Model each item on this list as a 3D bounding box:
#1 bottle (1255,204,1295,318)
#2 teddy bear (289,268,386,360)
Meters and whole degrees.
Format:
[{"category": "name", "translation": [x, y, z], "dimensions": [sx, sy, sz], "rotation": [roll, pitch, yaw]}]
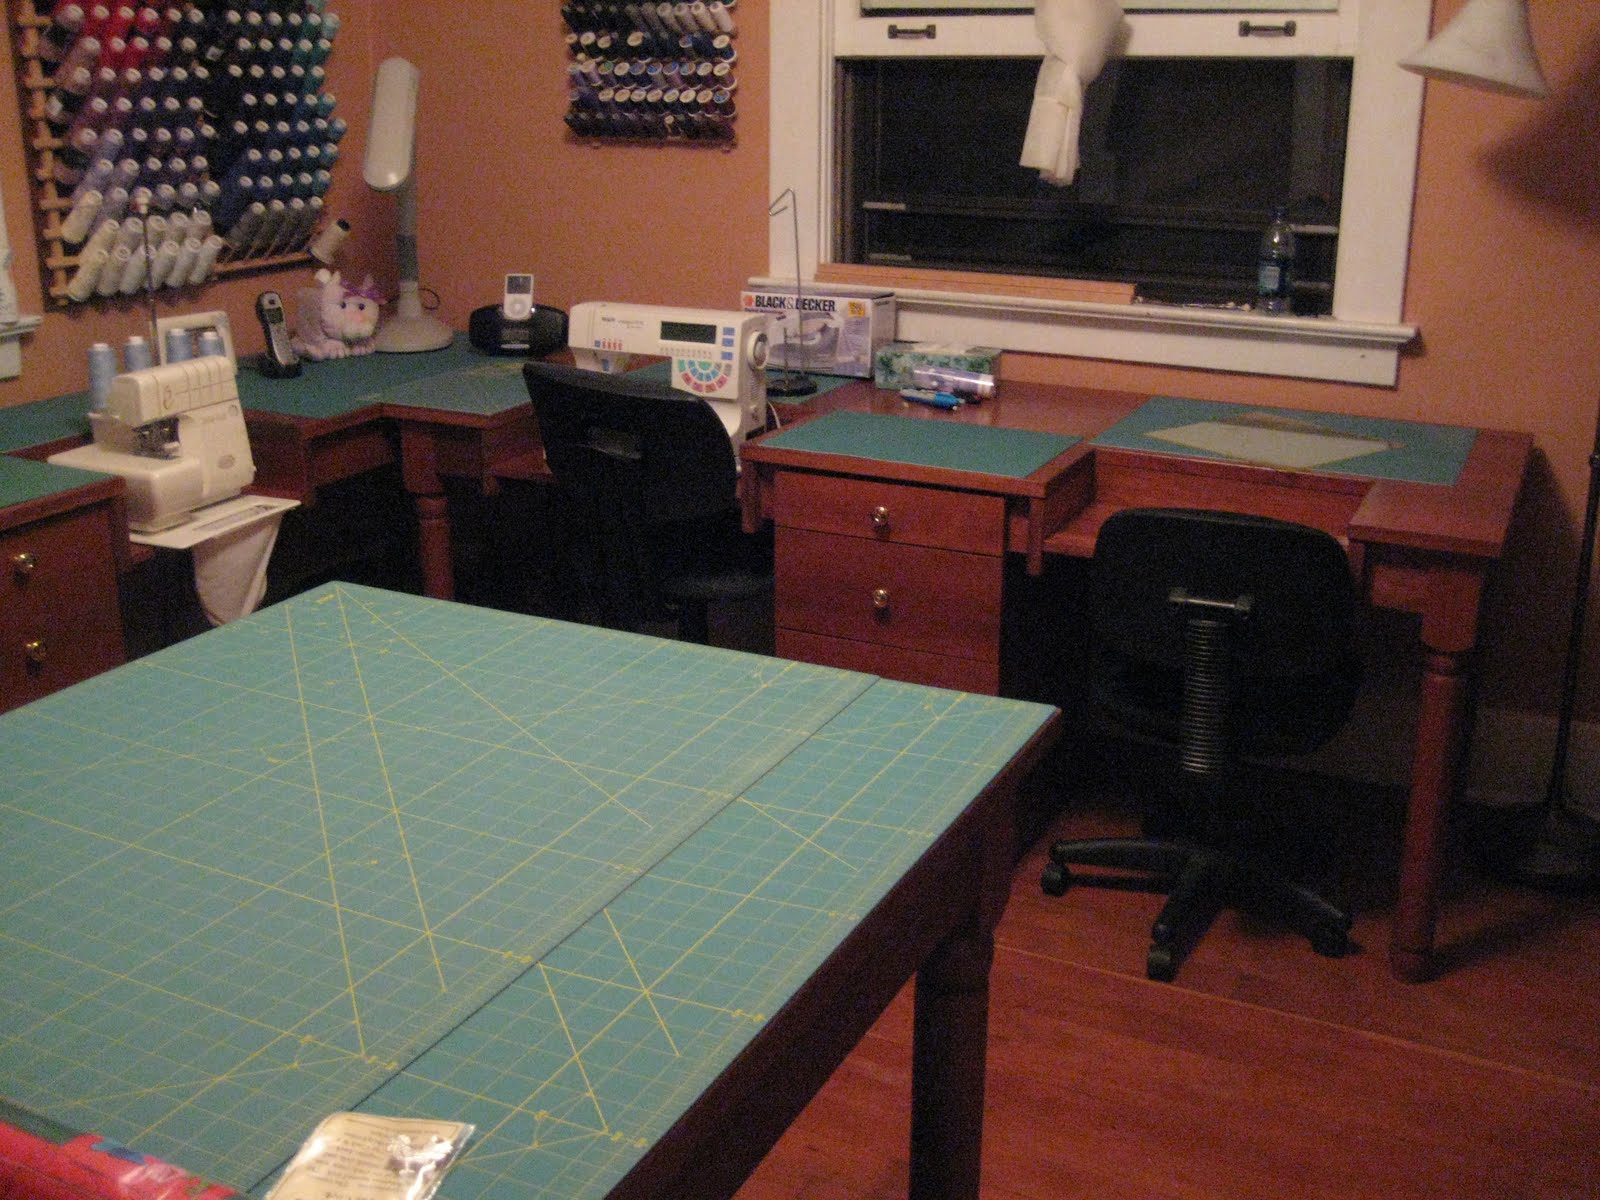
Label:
[{"category": "bottle", "translation": [1.242, -0.880, 3.387], "dimensions": [0.087, 0.249, 0.134], "rotation": [6, 22, 18]}, {"category": "teddy bear", "translation": [-1.398, -0.882, 3.960], "dimensions": [0.274, 0.269, 0.232], "rotation": [20, 23, 41]}]
